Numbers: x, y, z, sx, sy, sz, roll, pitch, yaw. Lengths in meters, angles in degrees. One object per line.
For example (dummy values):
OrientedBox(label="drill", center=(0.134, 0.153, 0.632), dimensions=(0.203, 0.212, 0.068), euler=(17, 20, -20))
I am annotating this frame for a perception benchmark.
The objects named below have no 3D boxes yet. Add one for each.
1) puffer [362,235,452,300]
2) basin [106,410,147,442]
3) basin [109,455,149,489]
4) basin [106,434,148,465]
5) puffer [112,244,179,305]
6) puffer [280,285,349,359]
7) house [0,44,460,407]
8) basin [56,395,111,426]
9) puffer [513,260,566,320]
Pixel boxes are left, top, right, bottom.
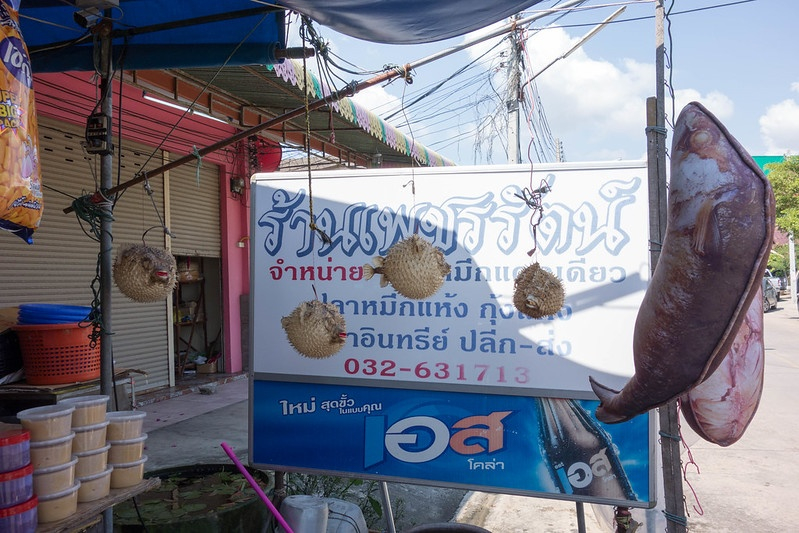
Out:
OrientedBox(label="puffer", center=(0.052, 0.071, 6.357), dimensions=(0.674, 0.349, 0.537), euler=(-2, -15, 13))
OrientedBox(label="basin", center=(-1.934, 1.108, 5.864), dimensions=(0.234, 0.113, 0.228), euler=(0, -5, 0))
OrientedBox(label="basin", center=(-1.910, 1.422, 5.789), dimensions=(0.210, 0.145, 0.232), euler=(1, -14, -18))
OrientedBox(label="basin", center=(-1.921, 1.268, 5.789), dimensions=(0.198, 0.121, 0.218), euler=(0, -9, -3))
OrientedBox(label="puffer", center=(-2.024, 0.060, 6.535), dimensions=(0.558, 0.469, 0.451), euler=(8, 6, 30))
OrientedBox(label="puffer", center=(-0.654, 0.492, 6.582), dimensions=(0.573, 0.474, 0.453), euler=(0, 9, 24))
OrientedBox(label="house", center=(-1.861, -0.361, 8.020), dimensions=(4.258, 2.743, 1.362), euler=(1, -8, -34))
OrientedBox(label="basin", center=(-2.163, 0.972, 5.712), dimensions=(0.226, 0.131, 0.221), euler=(0, -7, 0))
OrientedBox(label="puffer", center=(1.037, 0.198, 6.229), dimensions=(0.403, 0.399, 0.202), euler=(-3, -21, 18))
